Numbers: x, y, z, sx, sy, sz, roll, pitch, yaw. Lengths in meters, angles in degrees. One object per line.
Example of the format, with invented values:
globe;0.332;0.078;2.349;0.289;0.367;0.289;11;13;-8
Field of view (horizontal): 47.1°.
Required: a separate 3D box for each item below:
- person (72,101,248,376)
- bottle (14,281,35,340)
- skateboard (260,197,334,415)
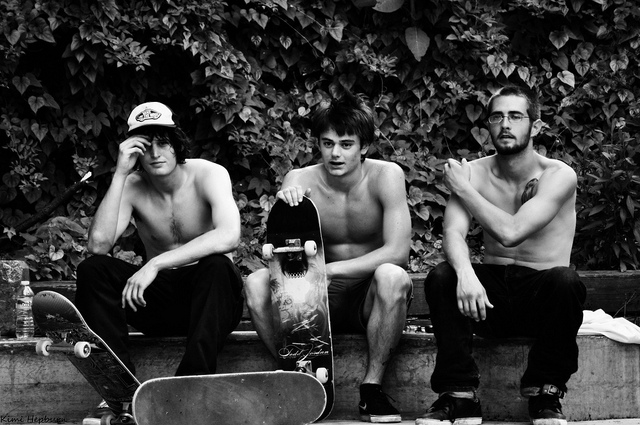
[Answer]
person;-1.069;0.142;5.025;1.129;1.806;0.940;-1;5;1
bottle;-2.179;0.719;5.381;0.143;0.402;0.385;-3;5;-22
skateboard;-0.136;0.571;4.972;0.396;1.609;0.227;-2;-9;11
